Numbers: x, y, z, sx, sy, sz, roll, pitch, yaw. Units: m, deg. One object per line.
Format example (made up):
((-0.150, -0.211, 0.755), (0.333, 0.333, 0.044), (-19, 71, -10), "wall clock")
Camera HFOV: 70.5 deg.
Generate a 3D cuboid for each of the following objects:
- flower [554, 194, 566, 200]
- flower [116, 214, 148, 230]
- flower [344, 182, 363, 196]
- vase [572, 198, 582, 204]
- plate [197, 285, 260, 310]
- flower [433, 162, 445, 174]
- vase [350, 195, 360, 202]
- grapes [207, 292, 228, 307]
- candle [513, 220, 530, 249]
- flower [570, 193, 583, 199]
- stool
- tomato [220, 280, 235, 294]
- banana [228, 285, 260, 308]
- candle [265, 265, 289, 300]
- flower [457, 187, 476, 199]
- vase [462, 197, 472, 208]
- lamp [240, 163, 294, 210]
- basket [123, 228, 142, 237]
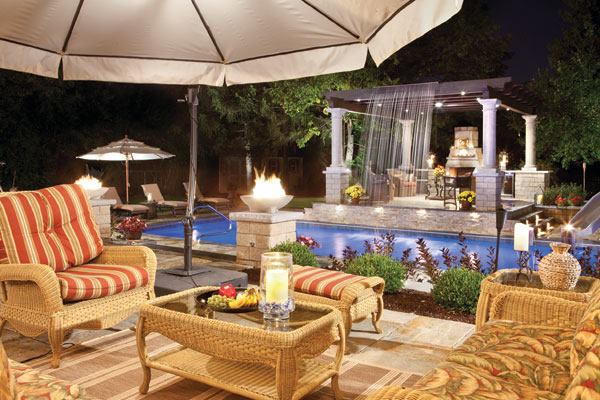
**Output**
((9.222, -0.098, 15.022), (0.257, 0.186, 0.270), (1, -1, 21), "flower")
((-3.793, 0.503, 9.546), (0.523, 0.309, 0.484), (4, -1, -36), "flower")
((1.896, -0.400, 15.083), (0.503, 0.358, 0.498), (0, 2, -20), "flower")
((9.665, 0.021, 14.755), (0.205, 0.160, 0.224), (1, -5, 4), "vase")
((-0.622, 0.883, 3.736), (0.314, 0.058, 0.317), (3, 2, 17), "plate")
((5.840, -1.329, 17.804), (0.308, 0.523, 1.202), (0, -1, 23), "flower")
((1.980, -0.051, 15.060), (0.242, 0.193, 0.255), (1, -1, 0), "vase")
((-0.723, 0.874, 3.724), (0.106, 0.087, 0.145), (3, 1, -5), "grapes")
((2.384, 0.372, 4.542), (0.148, 0.304, 0.271), (0, 0, 30), "candle")
((9.623, -0.135, 14.834), (0.267, 0.143, 0.270), (1, 3, 3), "flower")
((0.480, 1.098, 4.695), (1.034, 0.622, 0.683), (5, 7, 36), "stool")
((-0.663, 0.790, 3.850), (0.114, 0.116, 0.112), (3, 3, -10), "tomato")
((-0.487, 0.845, 3.731), (0.156, 0.131, 0.225), (8, -1, 30), "banana")
((-0.173, 0.709, 3.634), (0.228, 0.262, 0.229), (-1, -1, -18), "candle")
((5.182, -0.202, 13.236), (0.413, 0.306, 0.440), (1, 3, 38), "flower")
((5.175, 0.091, 13.170), (0.258, 0.205, 0.272), (1, -3, -5), "vase")
((-0.593, -0.145, 7.307), (0.908, 0.630, 0.813), (0, 2, 6), "lamp")
((-3.273, 0.644, 8.342), (0.203, 0.135, 0.222), (-3, -6, 41), "basket")
